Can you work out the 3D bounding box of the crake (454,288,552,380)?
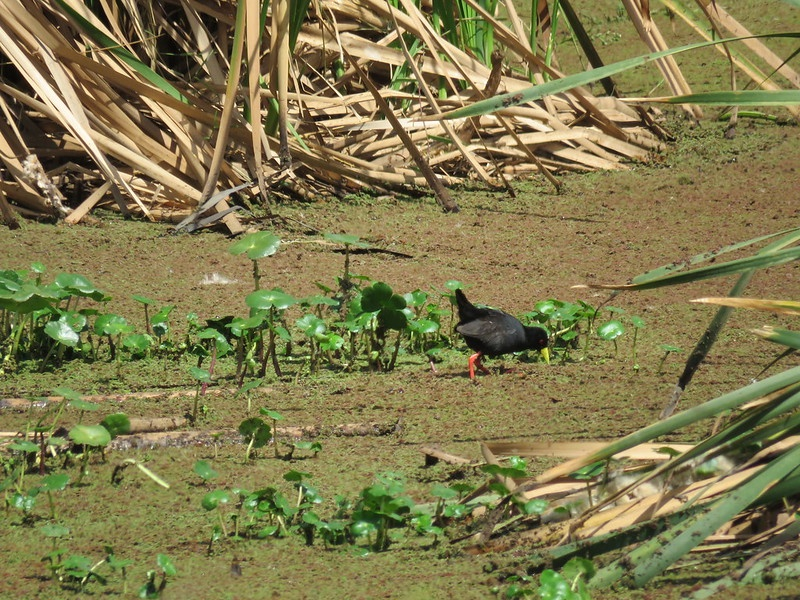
[{"bbox_3d":[0.681,0.254,7.190,0.839,0.405,0.296,15,1,-17],"label":"crake"}]
